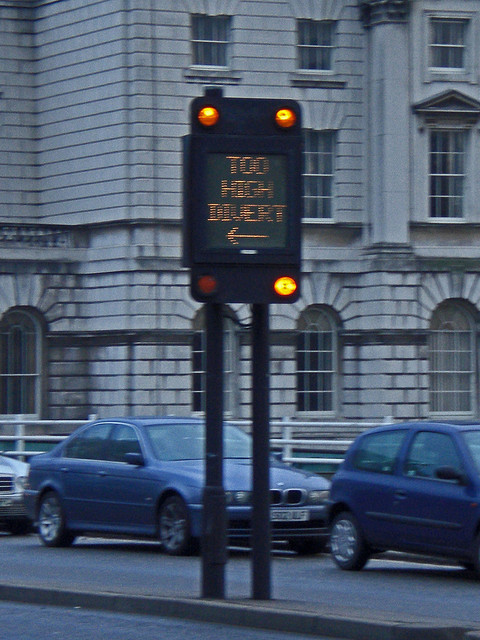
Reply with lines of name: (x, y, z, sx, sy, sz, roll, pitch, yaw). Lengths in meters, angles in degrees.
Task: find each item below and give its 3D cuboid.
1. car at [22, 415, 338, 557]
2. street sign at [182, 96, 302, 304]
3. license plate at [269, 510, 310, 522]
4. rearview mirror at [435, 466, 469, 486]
car: (-0.654, 1.800, 20.778, 1.764, 1.500, 3.538, 5, -6, -40)
street sign: (0.011, -0.945, 14.972, 0.910, 1.612, 0.362, 1, -4, -1)
license plate: (0.500, 2.032, 19.712, 0.496, 0.128, 0.135, 6, -7, -42)
rearview mirror: (1.891, 1.421, 17.331, 0.168, 0.176, 0.408, 3, -5, -20)
